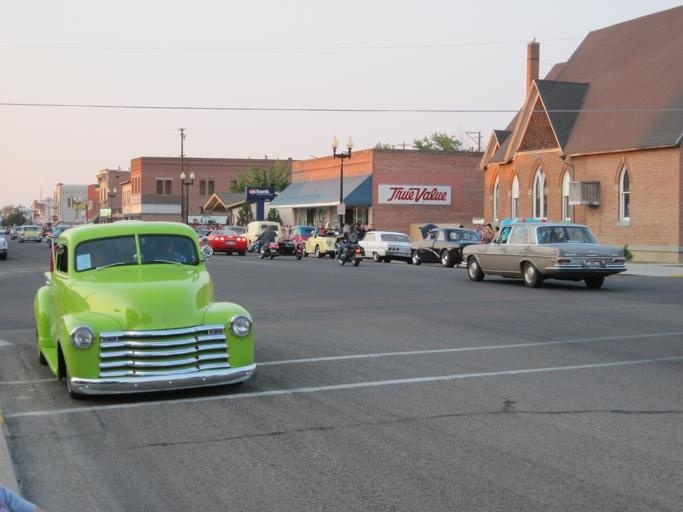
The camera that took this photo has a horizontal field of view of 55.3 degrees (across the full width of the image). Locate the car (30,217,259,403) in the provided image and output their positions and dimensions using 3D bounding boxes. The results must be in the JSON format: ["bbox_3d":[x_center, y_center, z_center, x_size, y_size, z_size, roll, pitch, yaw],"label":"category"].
[{"bbox_3d":[-2.609,0.615,8.618,2.117,2.158,2.809,-2,3,-34],"label":"car"}]

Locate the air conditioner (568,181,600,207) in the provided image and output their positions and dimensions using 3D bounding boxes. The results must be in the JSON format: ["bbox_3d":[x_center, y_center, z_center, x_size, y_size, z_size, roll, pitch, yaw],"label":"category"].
[{"bbox_3d":[15.043,-3.883,40.816,1.457,1.530,1.499,0,0,-25],"label":"air conditioner"}]
